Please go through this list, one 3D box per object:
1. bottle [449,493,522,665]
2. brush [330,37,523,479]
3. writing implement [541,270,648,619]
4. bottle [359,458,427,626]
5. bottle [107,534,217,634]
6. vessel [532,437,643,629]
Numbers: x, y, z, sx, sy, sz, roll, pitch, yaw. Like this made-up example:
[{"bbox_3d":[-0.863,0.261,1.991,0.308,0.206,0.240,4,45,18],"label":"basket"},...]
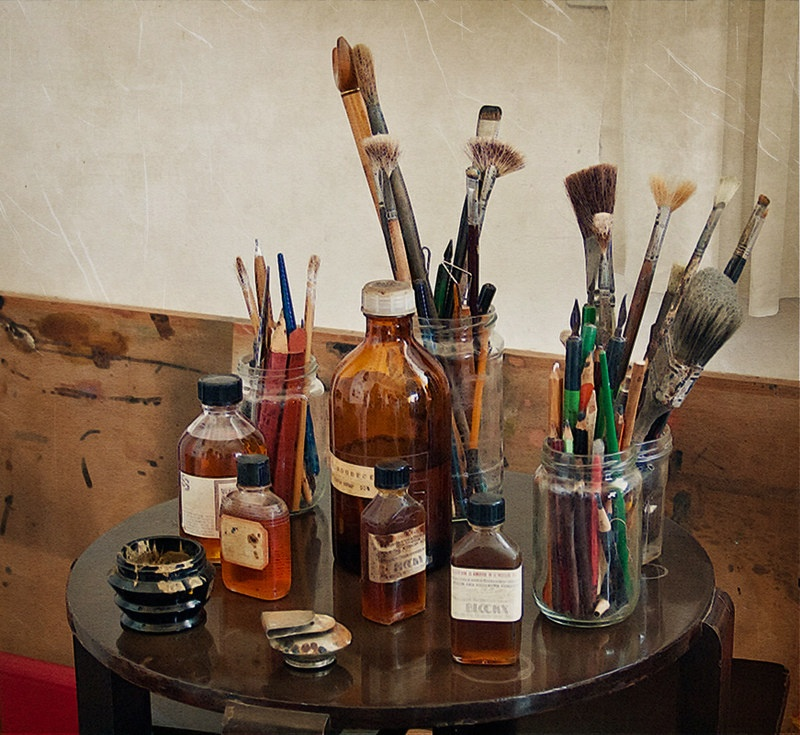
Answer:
[{"bbox_3d":[0.074,0.187,0.831,0.063,0.152,0.040,-3,13,1],"label":"bottle"},{"bbox_3d":[0.018,-0.121,1.023,0.065,0.445,0.041,-13,14,11],"label":"brush"},{"bbox_3d":[0.179,0.102,0.877,0.096,0.281,0.063,-7,14,-16],"label":"writing implement"},{"bbox_3d":[-0.007,0.161,0.882,0.064,0.161,0.064,-3,13,1],"label":"bottle"},{"bbox_3d":[-0.220,0.205,0.878,0.094,0.058,0.095,-1,7,0],"label":"bottle"},{"bbox_3d":[0.176,0.157,0.910,0.137,0.153,0.129,-1,2,-6],"label":"vessel"}]
